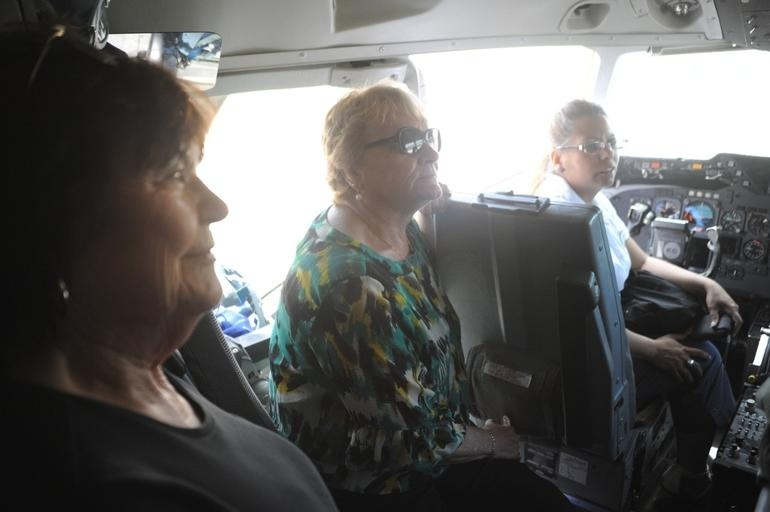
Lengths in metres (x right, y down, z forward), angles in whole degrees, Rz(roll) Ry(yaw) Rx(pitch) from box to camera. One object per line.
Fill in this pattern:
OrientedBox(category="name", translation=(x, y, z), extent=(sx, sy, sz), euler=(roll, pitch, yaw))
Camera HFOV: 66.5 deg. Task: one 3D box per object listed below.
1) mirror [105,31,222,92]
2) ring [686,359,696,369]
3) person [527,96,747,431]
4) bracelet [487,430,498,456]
OrientedBox(category="mirror", translation=(-0.274, -0.243, 0.720), extent=(0.134, 0.014, 0.089), euler=(-10, -25, -30))
OrientedBox(category="ring", translation=(1.325, 0.461, 2.522), extent=(0.038, 0.039, 0.027), euler=(10, 4, -21))
OrientedBox(category="person", translation=(1.277, 0.276, 3.059), extent=(1.059, 2.058, 0.904), euler=(6, 26, 31))
OrientedBox(category="bracelet", translation=(0.331, 0.588, 1.827), extent=(0.018, 0.055, 0.040), euler=(0, -9, 8))
